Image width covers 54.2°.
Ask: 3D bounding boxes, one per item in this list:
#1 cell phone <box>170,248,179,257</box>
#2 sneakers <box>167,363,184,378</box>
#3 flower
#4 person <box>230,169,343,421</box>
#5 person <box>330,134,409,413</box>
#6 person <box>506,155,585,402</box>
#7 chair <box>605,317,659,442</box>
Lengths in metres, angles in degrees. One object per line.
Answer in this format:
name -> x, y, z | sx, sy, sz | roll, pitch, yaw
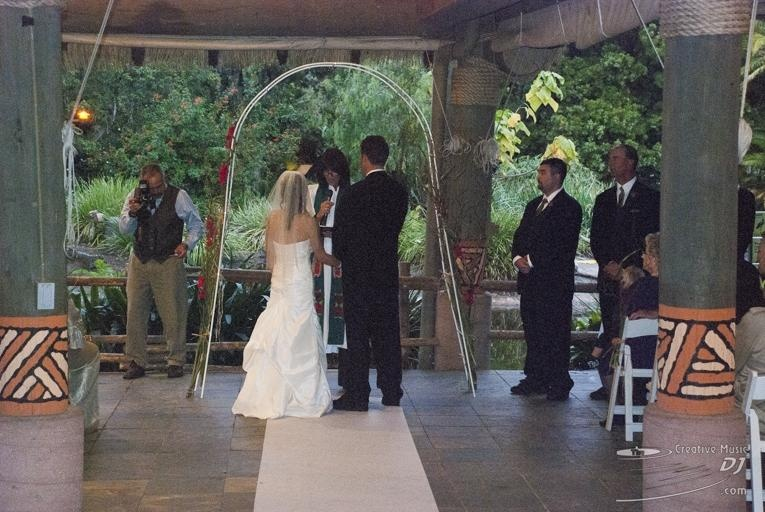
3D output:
cell phone -> -1.961, -0.016, 7.060 | 0.077, 0.055, 0.037 | -2, 0, 7
sneakers -> -1.951, 1.112, 7.149 | 0.193, 0.130, 0.072 | 0, 2, -10
flower -> -1.578, -0.007, 6.985 | 0.429, 2.418, 1.290 | 0, 10, -11
person -> -0.793, 0.303, 6.162 | 0.834, 1.974, 0.688 | -1, 10, -13
person -> -0.130, 0.186, 6.576 | 0.788, 2.566, 0.746 | 2, 19, 4
person -> 1.467, 0.220, 6.719 | 0.550, 2.135, 0.436 | 3, 10, 9
chair -> 1.953, 0.936, 5.888 | 0.353, 0.916, 0.608 | 4, 10, 17
